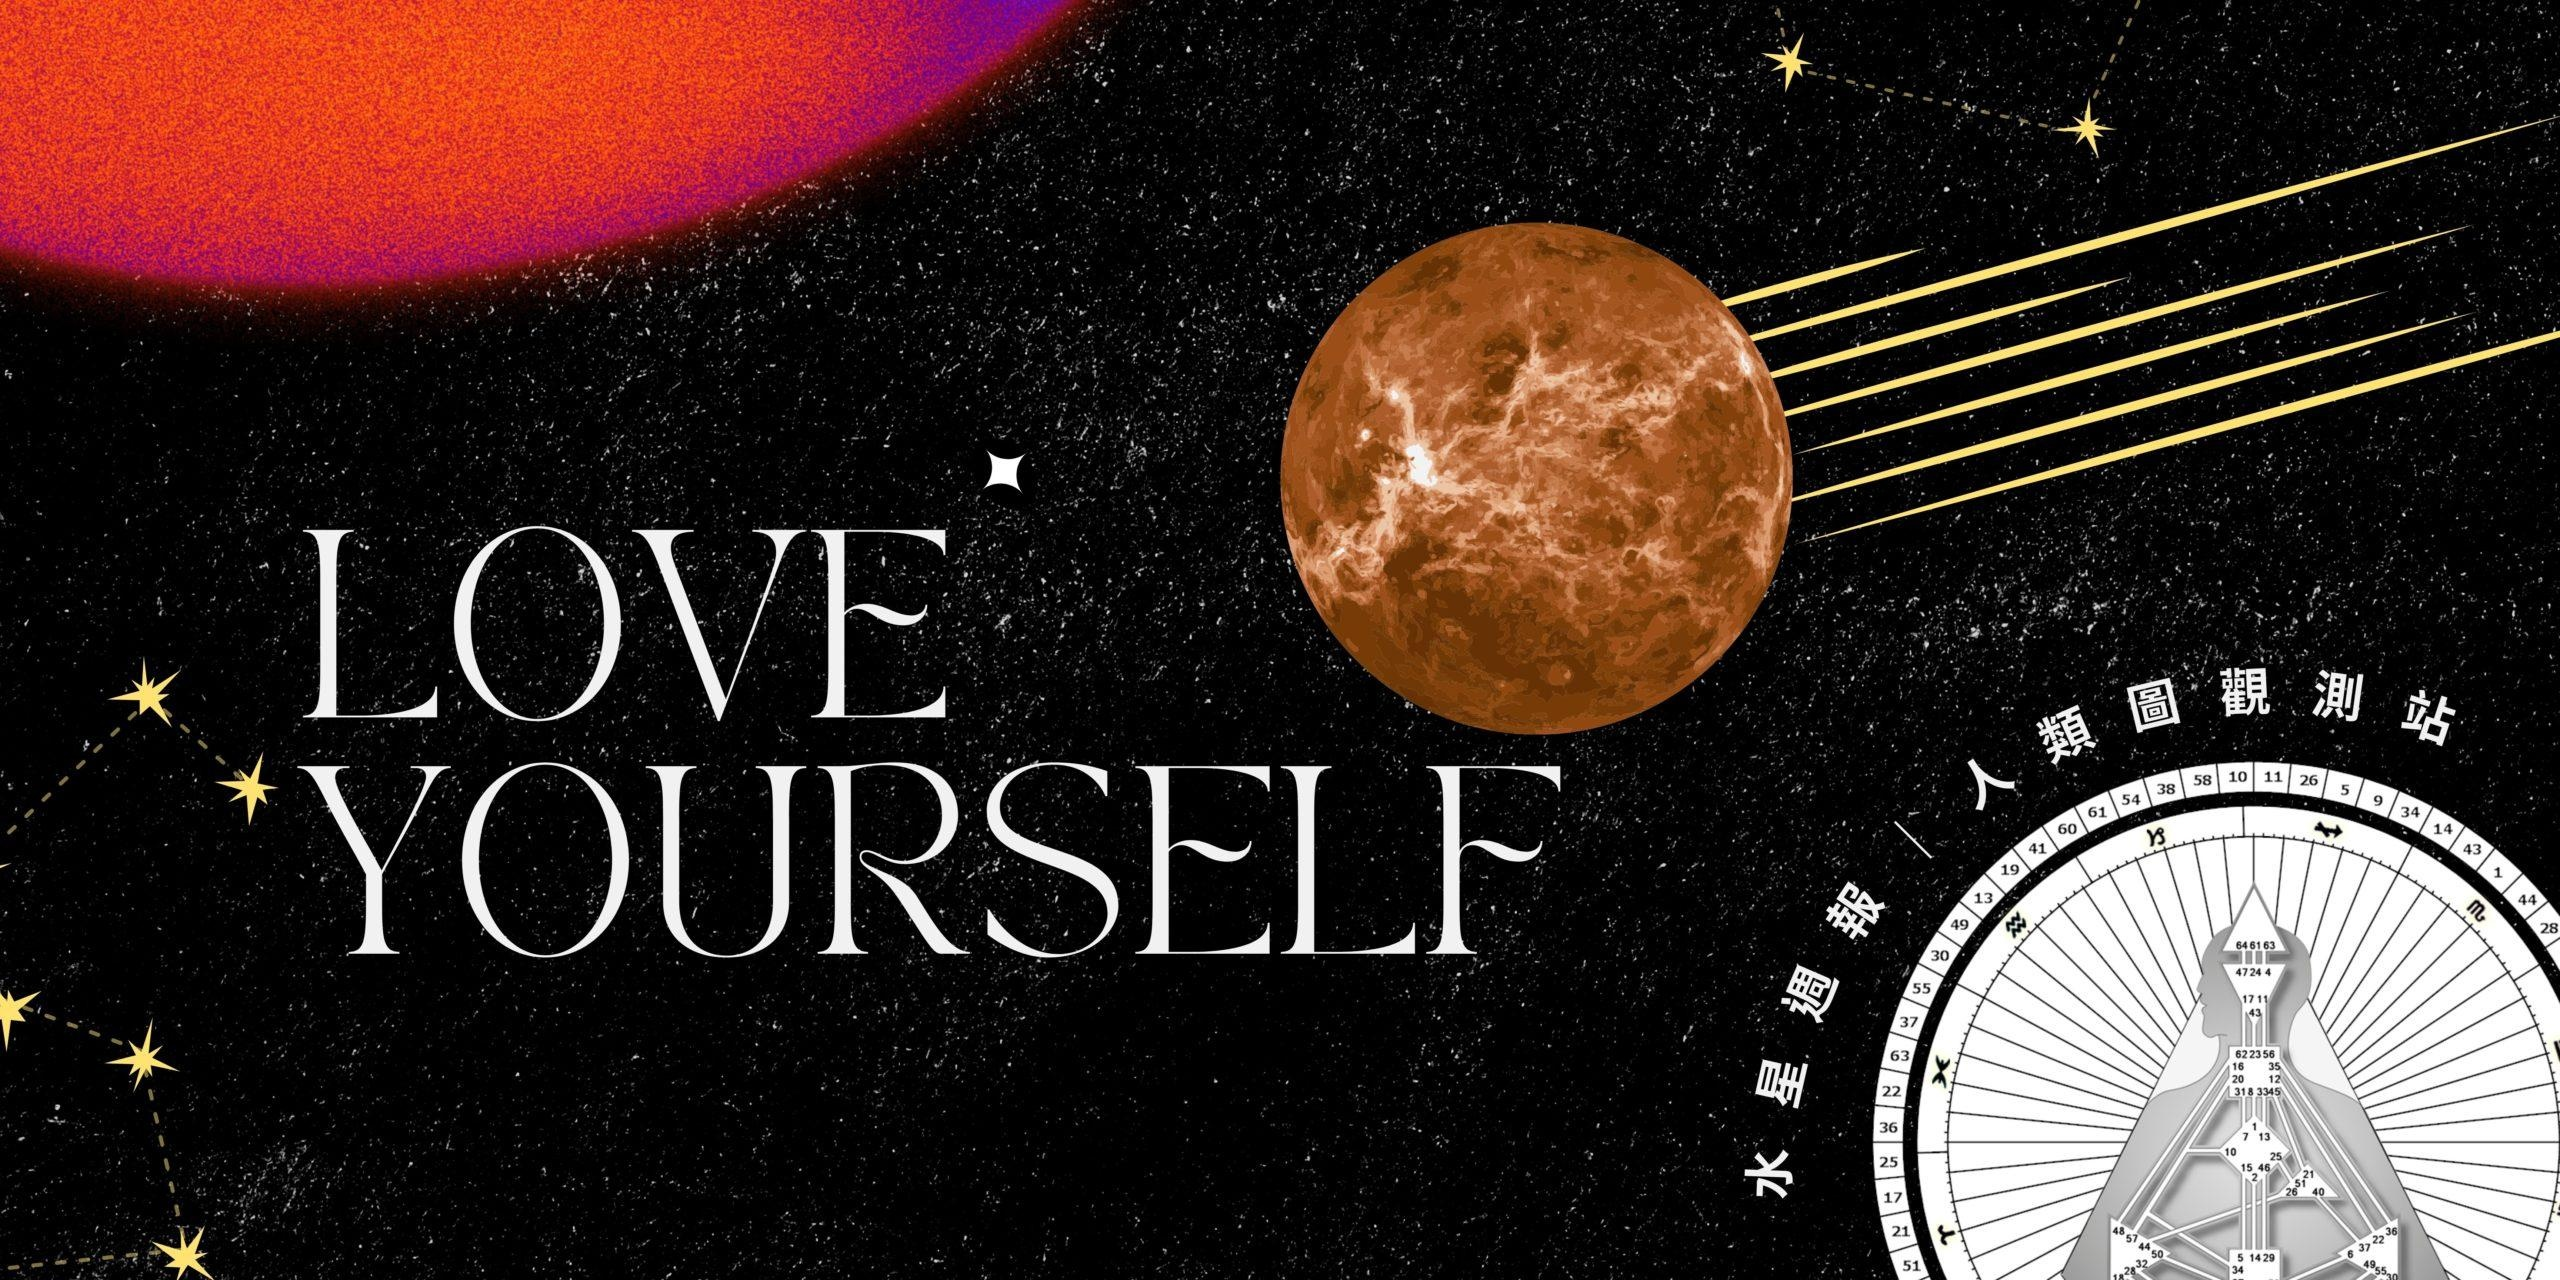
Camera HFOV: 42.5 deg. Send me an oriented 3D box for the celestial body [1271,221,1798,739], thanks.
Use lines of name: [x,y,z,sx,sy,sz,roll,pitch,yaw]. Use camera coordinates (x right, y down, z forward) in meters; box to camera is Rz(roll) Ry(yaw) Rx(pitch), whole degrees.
celestial body: [0.636,-0.409,8.258,1.133,0.256,1.133,0,83,-2]
